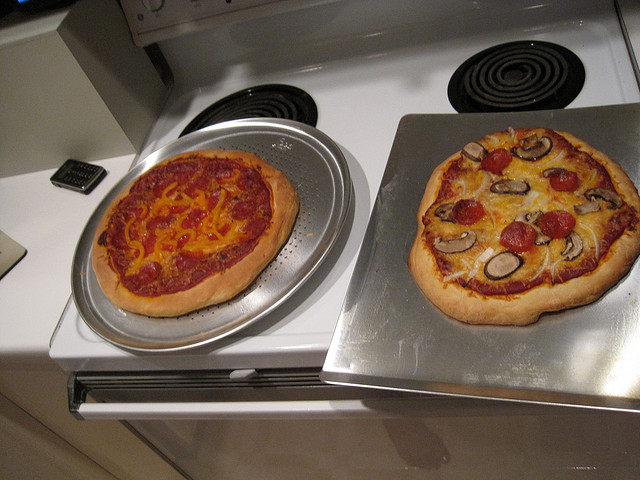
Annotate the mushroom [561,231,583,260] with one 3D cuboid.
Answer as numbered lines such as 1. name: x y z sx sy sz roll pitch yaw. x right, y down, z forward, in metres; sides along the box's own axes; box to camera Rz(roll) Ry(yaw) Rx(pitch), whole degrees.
1. mushroom: 0.561 0.017 1.270 0.038 0.014 0.059 4 68 27

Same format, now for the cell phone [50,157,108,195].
1. cell phone: -0.802 -0.199 1.881 0.151 0.042 0.116 18 55 15

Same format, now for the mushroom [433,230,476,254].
1. mushroom: 0.315 0.011 1.336 0.073 0.018 0.055 -29 48 -3

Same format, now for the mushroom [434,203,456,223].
1. mushroom: 0.307 -0.068 1.383 0.038 0.015 0.052 -6 57 19

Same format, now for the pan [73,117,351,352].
1. pan: -0.300 -0.053 1.551 0.808 0.136 0.712 -23 45 0

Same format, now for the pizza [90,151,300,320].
1. pizza: -0.343 -0.040 1.553 0.578 0.136 0.505 -17 45 7

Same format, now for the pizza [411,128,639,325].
1. pizza: 0.468 -0.045 1.349 0.525 0.157 0.475 -16 45 8

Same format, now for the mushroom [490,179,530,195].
1. mushroom: 0.464 -0.127 1.364 0.070 0.011 0.041 5 59 16
